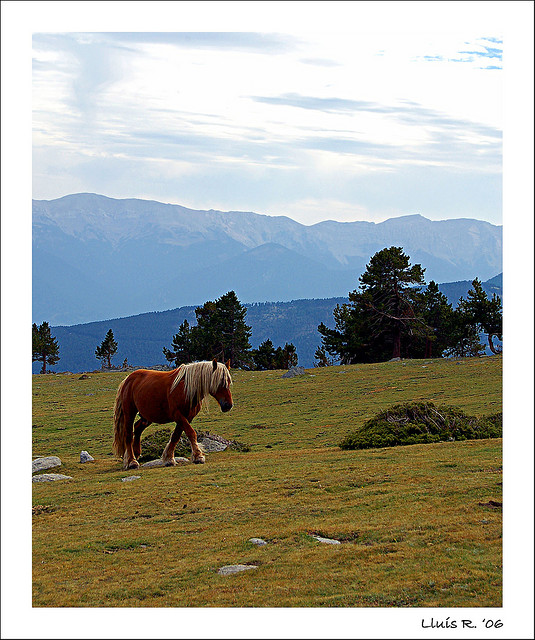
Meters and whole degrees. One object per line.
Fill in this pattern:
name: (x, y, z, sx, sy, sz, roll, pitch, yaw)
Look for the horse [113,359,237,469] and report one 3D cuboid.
horse: (-2.347, 2.359, 28.639, 3.344, 2.597, 0.989, -5, -7, 31)
